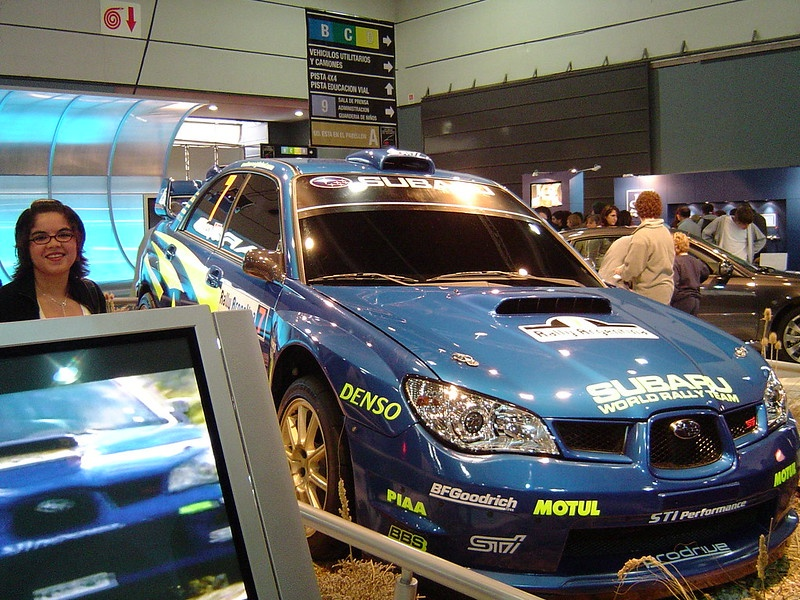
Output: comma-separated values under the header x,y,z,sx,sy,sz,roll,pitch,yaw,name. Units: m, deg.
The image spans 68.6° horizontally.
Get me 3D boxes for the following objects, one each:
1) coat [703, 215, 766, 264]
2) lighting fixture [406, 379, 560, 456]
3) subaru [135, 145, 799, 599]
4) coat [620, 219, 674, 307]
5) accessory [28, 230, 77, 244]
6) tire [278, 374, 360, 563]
x,y,z,sx,sy,sz,roll,pitch,yaw,name
6.473,-1.218,11.224,1.100,1.009,0.461,13,56,33,coat
0.310,0.468,2.309,0.610,0.256,0.122,2,10,15,lighting fixture
-0.181,0.053,4.089,1.996,1.552,4.494,-3,7,-30,subaru
2.473,-0.318,5.889,0.575,0.880,0.678,-4,2,30,coat
-1.643,-0.293,2.767,0.171,0.062,0.061,-9,12,-38,accessory
-0.399,0.830,3.021,0.284,0.793,0.817,4,-8,-32,tire
